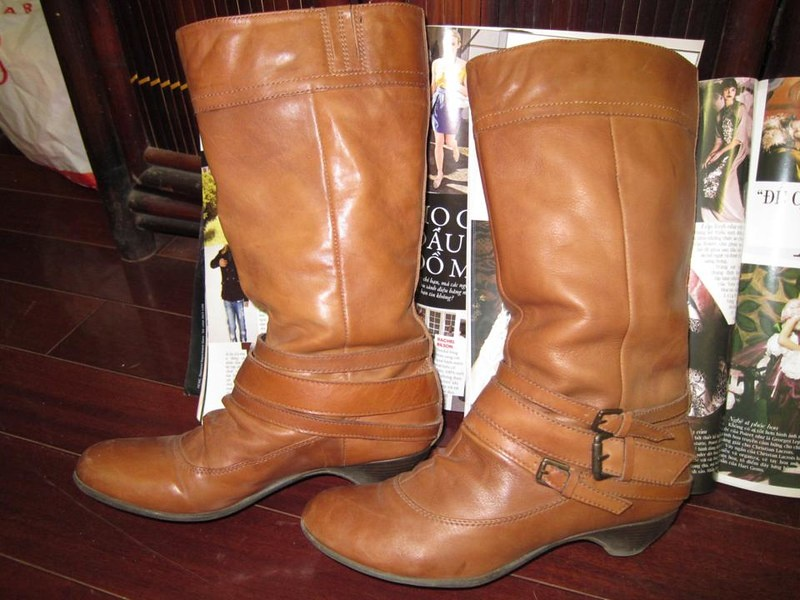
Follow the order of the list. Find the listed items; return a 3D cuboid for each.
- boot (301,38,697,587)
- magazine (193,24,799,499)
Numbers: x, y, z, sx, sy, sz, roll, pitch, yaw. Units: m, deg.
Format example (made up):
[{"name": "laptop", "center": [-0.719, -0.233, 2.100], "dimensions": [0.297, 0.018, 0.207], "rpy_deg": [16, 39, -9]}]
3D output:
[{"name": "boot", "center": [0.167, 0.025, 0.939], "dimensions": [0.564, 0.707, 0.523], "rpy_deg": [7, 37, 14]}, {"name": "magazine", "center": [0.175, -0.061, 0.991], "dimensions": [1.037, 0.493, 0.079], "rpy_deg": [6, 18, 28]}]
